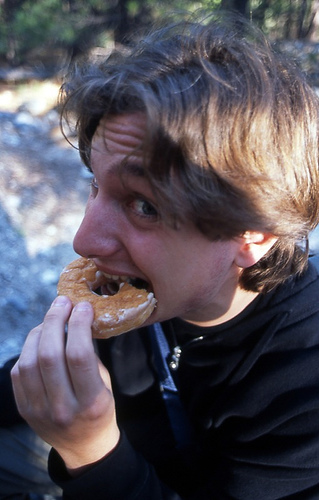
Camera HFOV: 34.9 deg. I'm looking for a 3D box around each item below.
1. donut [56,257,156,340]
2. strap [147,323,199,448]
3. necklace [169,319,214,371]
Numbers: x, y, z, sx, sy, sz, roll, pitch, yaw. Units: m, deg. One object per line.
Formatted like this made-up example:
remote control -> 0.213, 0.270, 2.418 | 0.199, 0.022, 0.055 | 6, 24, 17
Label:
donut -> -0.251, 0.192, 2.336 | 0.465, 0.137, 0.441 | 5, 44, 20
strap -> 0.068, 0.672, 2.536 | 0.129, 0.065, 0.680 | -26, 63, 14
necklace -> 0.143, 0.481, 2.495 | 0.274, 0.093, 0.180 | 20, 55, 21
